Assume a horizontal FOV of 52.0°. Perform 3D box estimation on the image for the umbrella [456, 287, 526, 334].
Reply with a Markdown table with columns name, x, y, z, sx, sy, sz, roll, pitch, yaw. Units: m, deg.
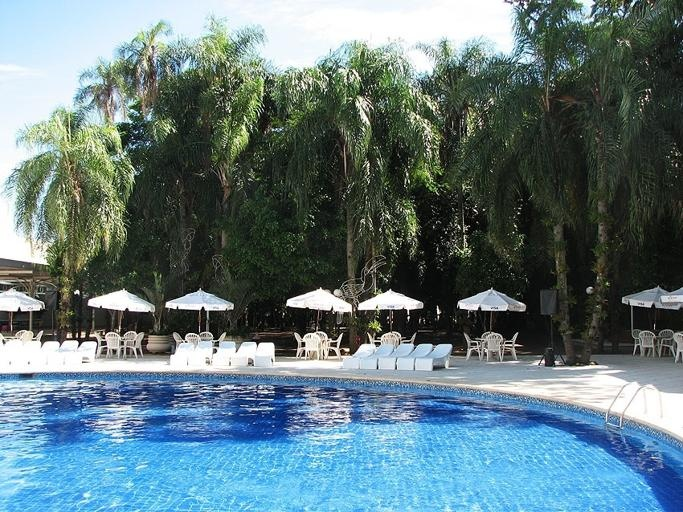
| name | x | y | z | sx | sy | sz | roll | pitch | yaw |
| --- | --- | --- | --- | --- | --- | --- | --- | --- | --- |
| umbrella | 5.029 | 1.535 | 23.386 | 1.727 | 1.563 | 1.754 | -1 | 2 | -39 |

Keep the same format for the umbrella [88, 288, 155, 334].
| name | x | y | z | sx | sy | sz | roll | pitch | yaw |
| --- | --- | --- | --- | --- | --- | --- | --- | --- | --- |
| umbrella | -7.926 | 1.609 | 25.175 | 1.901 | 1.740 | 1.969 | 3 | 2 | -33 |

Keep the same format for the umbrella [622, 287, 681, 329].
| name | x | y | z | sx | sy | sz | roll | pitch | yaw |
| --- | --- | --- | --- | --- | --- | --- | --- | --- | --- |
| umbrella | 12.519 | 2.062 | 28.096 | 1.324 | 1.285 | 1.493 | 1 | -6 | -16 |

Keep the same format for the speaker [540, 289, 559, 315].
| name | x | y | z | sx | sy | sz | roll | pitch | yaw |
| --- | --- | --- | --- | --- | --- | --- | --- | --- | --- |
| speaker | 6.268 | 1.355 | 21.159 | 0.447 | 0.788 | 0.872 | -1 | -7 | 14 |

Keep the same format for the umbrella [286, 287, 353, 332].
| name | x | y | z | sx | sy | sz | roll | pitch | yaw |
| --- | --- | --- | --- | --- | --- | --- | --- | --- | --- |
| umbrella | -0.789 | 1.757 | 23.958 | 1.182 | 1.108 | 1.301 | 4 | -1 | -22 |
